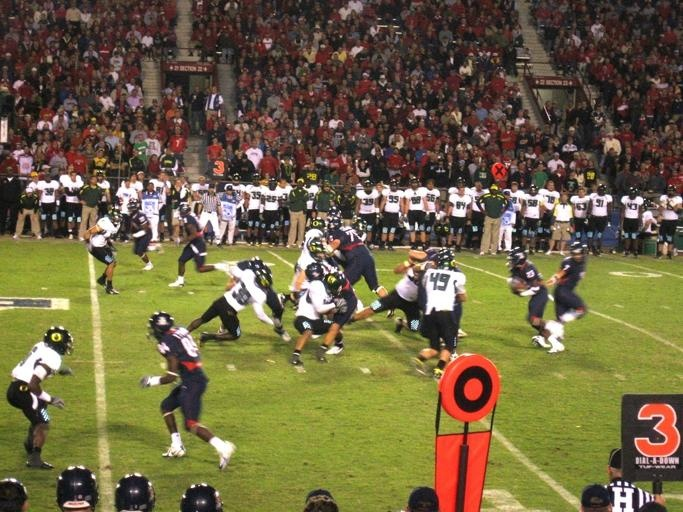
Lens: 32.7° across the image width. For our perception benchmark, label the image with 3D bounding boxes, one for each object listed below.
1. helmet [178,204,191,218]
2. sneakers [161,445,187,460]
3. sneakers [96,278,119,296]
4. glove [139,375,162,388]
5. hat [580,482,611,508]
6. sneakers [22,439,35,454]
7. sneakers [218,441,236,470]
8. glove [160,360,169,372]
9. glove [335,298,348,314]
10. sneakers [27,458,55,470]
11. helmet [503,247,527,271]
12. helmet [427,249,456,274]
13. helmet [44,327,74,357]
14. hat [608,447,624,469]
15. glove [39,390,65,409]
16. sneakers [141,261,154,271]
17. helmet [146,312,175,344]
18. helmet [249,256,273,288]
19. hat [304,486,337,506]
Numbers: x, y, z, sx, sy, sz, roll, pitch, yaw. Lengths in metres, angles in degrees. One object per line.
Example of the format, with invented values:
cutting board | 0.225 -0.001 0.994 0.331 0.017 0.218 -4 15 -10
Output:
helmet | -3.423 -0.989 25.228 0.260 0.311 0.324 12 4 16
sneakers | -2.540 2.995 17.657 0.406 0.193 0.140 -1 11 -4
sneakers | -4.975 0.667 24.570 0.405 0.183 0.140 33 35 12
glove | -2.981 1.954 18.093 0.345 0.139 0.376 6 11 -12
hat | 3.209 3.052 14.726 0.248 0.197 0.343 -1 22 11
sneakers | -4.646 2.848 17.309 0.158 0.182 0.185 1 -13 -7
sneakers | -1.699 2.940 17.356 0.231 0.506 0.173 2 32 -8
glove | -3.102 1.912 20.252 0.090 0.121 0.406 0 0 -16
glove | -0.010 0.907 21.013 0.165 0.257 0.084 4 7 -26
sneakers | -4.456 3.094 17.265 0.415 0.165 0.143 4 4 -7
helmet | 3.381 0.060 22.455 0.331 0.430 0.546 0 0 6
helmet | 1.802 0.058 20.887 0.499 0.380 0.600 0 0 -6
helmet | -4.259 1.269 17.603 0.447 0.396 0.370 19 -5 -27
hat | 3.673 2.730 15.630 0.114 0.305 0.321 0 0 0
glove | -4.358 2.181 17.501 0.559 0.180 0.140 30 20 -43
sneakers | -4.559 0.243 27.238 0.216 0.209 0.503 -2 -3 1
helmet | -2.808 1.090 17.902 0.351 0.456 0.555 0 0 -23
helmet | -1.433 0.289 20.732 0.357 0.550 0.288 0 0 -7
hat | -0.281 2.978 14.450 0.246 0.220 0.373 3 -5 -13
